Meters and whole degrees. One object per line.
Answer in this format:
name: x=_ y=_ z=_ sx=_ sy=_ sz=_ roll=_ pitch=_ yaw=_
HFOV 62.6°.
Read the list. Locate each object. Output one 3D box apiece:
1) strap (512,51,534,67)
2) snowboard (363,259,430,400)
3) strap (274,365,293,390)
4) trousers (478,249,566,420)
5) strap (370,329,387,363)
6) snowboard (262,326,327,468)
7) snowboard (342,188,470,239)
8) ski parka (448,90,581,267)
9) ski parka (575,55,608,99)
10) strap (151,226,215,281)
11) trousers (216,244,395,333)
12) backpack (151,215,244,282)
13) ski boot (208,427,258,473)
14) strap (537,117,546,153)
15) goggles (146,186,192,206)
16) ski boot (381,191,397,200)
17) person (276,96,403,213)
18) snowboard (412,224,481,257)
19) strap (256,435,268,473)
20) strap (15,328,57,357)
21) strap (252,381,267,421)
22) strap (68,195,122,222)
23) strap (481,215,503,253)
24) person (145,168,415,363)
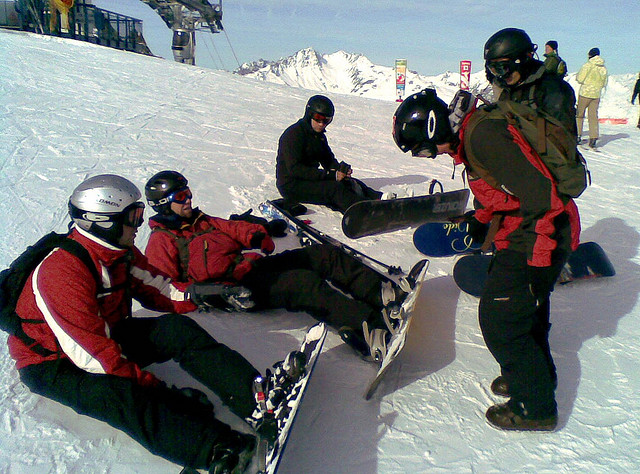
strap: x=1.778 y=-1.574 z=4.611 sx=0.284 sy=0.071 sz=0.047 roll=-34 pitch=19 yaw=-16
snowboard: x=0.611 y=0.793 z=4.351 sx=1.398 sy=0.151 sz=0.150 roll=-52 pitch=5 yaw=-29
strap: x=-0.265 y=1.003 z=3.745 sx=0.054 sy=0.179 sz=0.028 roll=-36 pitch=6 yaw=-2
trousers: x=1.457 y=0.698 z=3.868 sx=0.570 sy=1.209 sz=0.453 roll=2 pitch=22 yaw=14
strap: x=0.453 y=0.836 z=4.109 sx=0.159 sy=0.239 sz=0.073 roll=7 pitch=3 yaw=36
snowboard: x=-0.186 y=1.076 z=3.699 sx=0.272 sy=0.142 sz=1.004 roll=-6 pitch=44 yaw=40
snowboard: x=0.961 y=-0.258 z=5.841 sx=0.236 sy=0.366 sz=1.947 roll=25 pitch=-21 yaw=-31
ski parka: x=1.416 y=-0.462 z=3.903 sx=0.547 sy=1.204 sz=0.844 roll=-21 pitch=27 yaw=-38
ski parka: x=5.825 y=-3.435 z=11.348 sx=0.514 sy=0.890 sz=0.645 roll=-18 pitch=25 yaw=-34
strap: x=-1.198 y=0.092 z=4.841 sx=0.750 sy=0.237 sz=0.237 roll=-33 pitch=-10 yaw=-29
trousers: x=-0.145 y=0.373 z=4.715 sx=1.377 sy=0.377 sz=0.711 roll=19 pitch=31 yaw=12
backpack: x=-1.079 y=0.118 z=4.743 sx=0.609 sy=0.226 sz=0.563 roll=3 pitch=48 yaw=6
ski boot: x=-0.589 y=1.433 z=3.510 sx=0.311 sy=0.082 sz=0.280 roll=1 pitch=29 yaw=-10
strap: x=1.553 y=-0.712 z=3.697 sx=0.063 sy=0.208 sz=0.040 roll=-1 pitch=-6 yaw=1
goggles: x=-1.358 y=-0.368 z=4.763 sx=0.298 sy=0.076 sz=0.192 roll=-7 pitch=19 yaw=-2
ski boot: x=0.895 y=-0.565 z=6.800 sx=0.177 sy=0.069 sz=0.224 roll=-3 pitch=8 yaw=-2
person: x=0.279 y=-1.084 z=6.927 sx=1.012 sy=1.435 sz=1.996 roll=-18 pitch=30 yaw=-41
snowboard: x=1.430 y=0.025 z=5.839 sx=1.225 sy=0.402 sz=0.148 roll=-5 pitch=-14 yaw=-36
strap: x=-0.381 y=1.381 z=3.397 sx=0.059 sy=0.187 sz=0.029 roll=4 pitch=-22 yaw=1
strap: x=-2.024 y=0.744 z=3.771 sx=0.348 sy=0.077 sz=0.048 roll=35 pitch=9 yaw=-8
strap: x=-0.425 y=1.122 z=3.666 sx=0.050 sy=0.064 sz=0.338 roll=-43 pitch=29 yaw=9
strap: x=-1.659 y=-0.192 z=3.874 sx=0.253 sy=0.058 sz=0.212 roll=5 pitch=22 yaw=-19
strap: x=1.398 y=-0.037 z=4.316 sx=0.049 sy=0.302 sz=0.040 roll=-2 pitch=49 yaw=-31
person: x=-0.332 y=0.187 z=4.687 sx=2.585 sy=1.197 sz=1.001 roll=11 pitch=41 yaw=12
